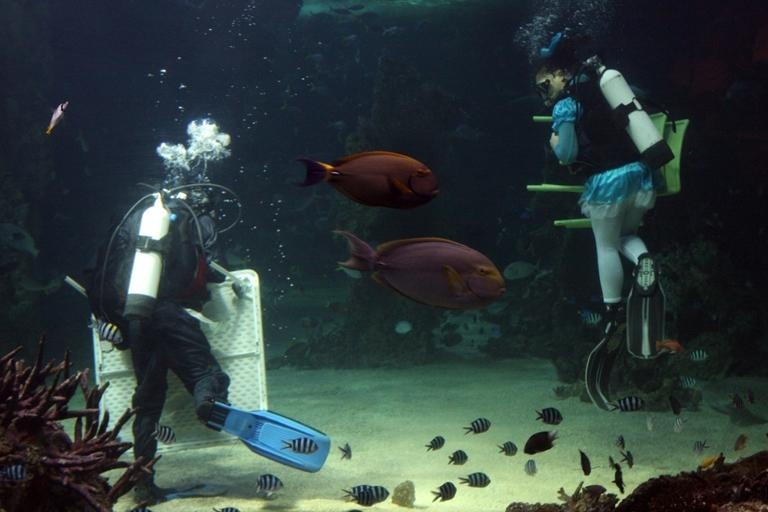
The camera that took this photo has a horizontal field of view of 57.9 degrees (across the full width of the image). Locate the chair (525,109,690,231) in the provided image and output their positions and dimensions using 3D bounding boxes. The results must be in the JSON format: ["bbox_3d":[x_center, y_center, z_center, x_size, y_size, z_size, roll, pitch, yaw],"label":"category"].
[{"bbox_3d":[4.008,-1.487,12.210,3.036,1.382,2.098,-3,3,-2],"label":"chair"}]

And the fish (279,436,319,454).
[{"bbox_3d":[-1.331,2.888,10.727,0.718,0.332,0.214,1,9,3],"label":"fish"}]
